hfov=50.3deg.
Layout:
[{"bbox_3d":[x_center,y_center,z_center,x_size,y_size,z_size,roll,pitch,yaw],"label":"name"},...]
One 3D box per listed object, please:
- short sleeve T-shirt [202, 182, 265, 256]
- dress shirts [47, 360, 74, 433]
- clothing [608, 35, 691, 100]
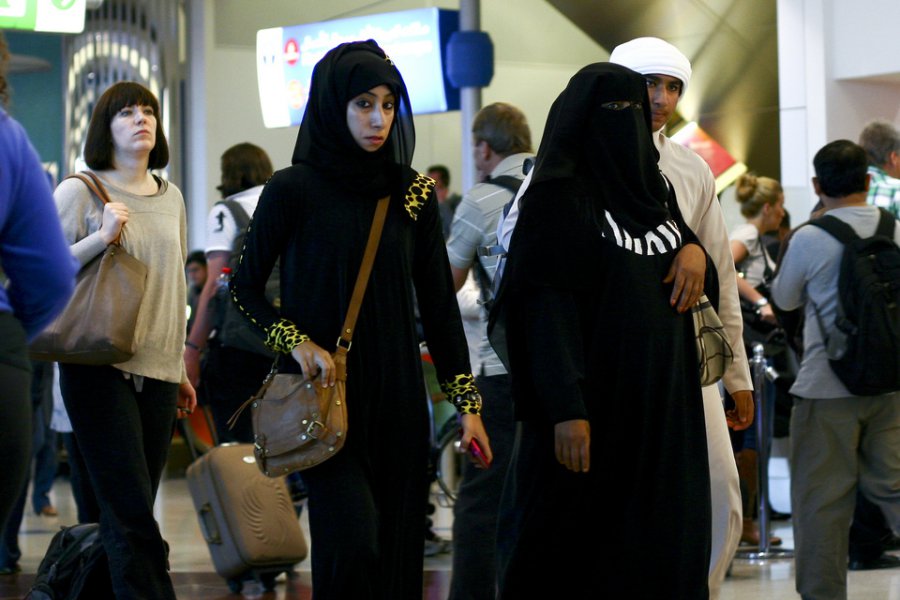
[{"bbox_3d":[-1.188,-0.417,5.512,0.374,0.287,0.204,4,20,38],"label":"short sleeve T-shirt"},{"bbox_3d":[-2.299,0.597,5.736,0.097,0.407,0.135,-3,-6,-15],"label":"dress shirts"},{"bbox_3d":[0.824,-0.949,3.930,0.295,0.194,0.224,2,10,-10],"label":"clothing"}]
